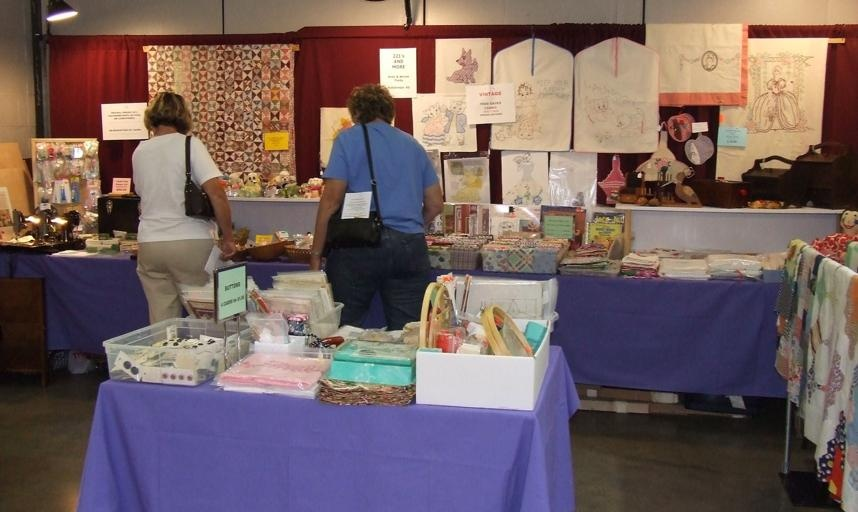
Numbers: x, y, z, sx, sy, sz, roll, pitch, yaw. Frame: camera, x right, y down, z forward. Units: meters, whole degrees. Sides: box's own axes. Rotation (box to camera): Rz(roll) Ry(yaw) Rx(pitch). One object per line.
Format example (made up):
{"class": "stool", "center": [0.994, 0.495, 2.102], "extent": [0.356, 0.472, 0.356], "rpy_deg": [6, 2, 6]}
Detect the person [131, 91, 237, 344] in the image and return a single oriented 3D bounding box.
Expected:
{"class": "person", "center": [-1.854, -0.330, 4.793], "extent": [0.709, 1.753, 0.484], "rpy_deg": [-2, 13, -10]}

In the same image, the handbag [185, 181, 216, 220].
{"class": "handbag", "center": [-1.708, -0.428, 4.769], "extent": [0.117, 0.274, 0.293], "rpy_deg": [9, 7, 33]}

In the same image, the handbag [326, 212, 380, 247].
{"class": "handbag", "center": [-0.522, -0.164, 4.500], "extent": [0.363, 0.257, 0.274], "rpy_deg": [0, 0, 5]}

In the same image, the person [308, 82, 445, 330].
{"class": "person", "center": [-0.369, -0.217, 4.559], "extent": [0.960, 1.451, 0.483], "rpy_deg": [-2, 13, -9]}
